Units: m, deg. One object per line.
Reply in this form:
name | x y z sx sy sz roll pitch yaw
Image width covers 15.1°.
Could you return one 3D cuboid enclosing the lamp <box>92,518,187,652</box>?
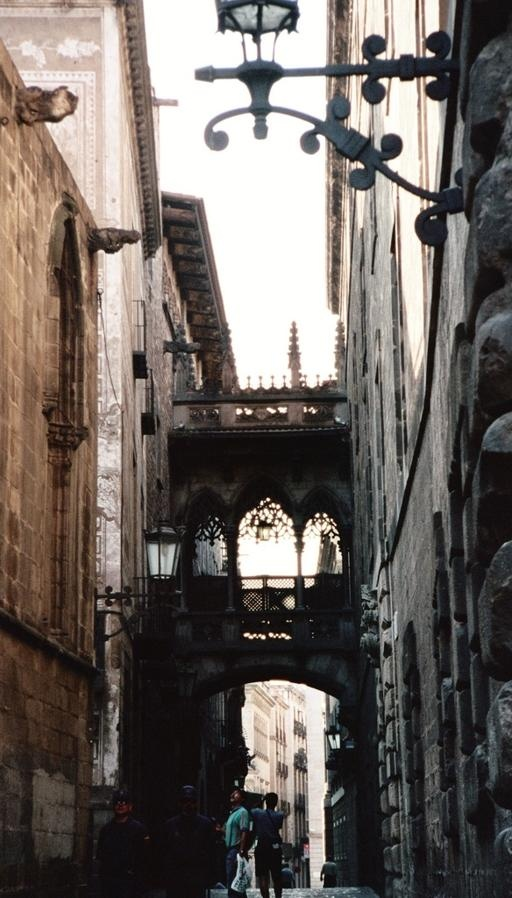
lamp | -1.044 1.121 17.815 0.721 0.604 1.600 -6 -55 -14
